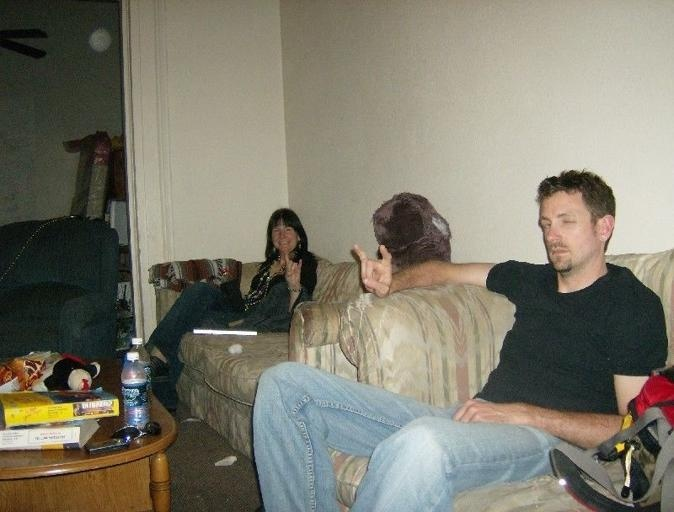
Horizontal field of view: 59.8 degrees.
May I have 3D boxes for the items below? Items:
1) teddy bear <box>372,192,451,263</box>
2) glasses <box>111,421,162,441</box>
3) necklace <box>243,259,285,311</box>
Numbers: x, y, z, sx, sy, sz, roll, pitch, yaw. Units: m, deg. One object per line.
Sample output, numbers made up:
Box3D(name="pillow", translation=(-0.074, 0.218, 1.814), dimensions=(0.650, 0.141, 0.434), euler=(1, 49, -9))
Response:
Box3D(name="teddy bear", translation=(0.368, -0.134, 3.141), dimensions=(0.405, 0.410, 0.325), euler=(-1, -5, 6))
Box3D(name="glasses", translation=(-0.682, 0.592, 1.998), dimensions=(0.097, 0.033, 0.060), euler=(5, -8, -40))
Box3D(name="necklace", translation=(-0.444, 0.166, 3.491), dimensions=(0.087, 0.348, 0.191), euler=(31, -5, -33))
